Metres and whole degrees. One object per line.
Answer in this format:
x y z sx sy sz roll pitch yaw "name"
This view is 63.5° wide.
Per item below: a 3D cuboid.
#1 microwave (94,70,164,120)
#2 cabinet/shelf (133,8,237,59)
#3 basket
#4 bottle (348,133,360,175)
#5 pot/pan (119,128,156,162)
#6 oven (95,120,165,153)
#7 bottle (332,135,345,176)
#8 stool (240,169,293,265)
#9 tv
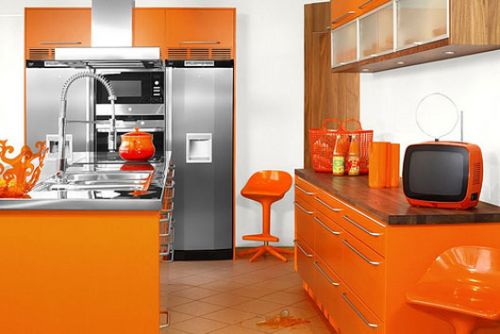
-1.601 -0.834 5.051 0.534 0.747 0.924 12 16 41 "microwave"
-0.777 -1.630 4.848 1.017 0.447 0.295 0 1 1 "cabinet/shelf"
0.855 -0.223 4.212 0.875 0.663 0.520 1 -3 5 "basket"
0.959 -0.113 3.781 0.118 0.375 0.199 1 8 12 "bottle"
-1.085 -0.215 3.903 0.362 0.293 0.333 3 9 17 "pot/pan"
-1.462 -0.349 5.106 0.864 0.482 0.428 2 -20 -2 "oven"
0.824 -0.110 3.813 0.121 0.367 0.205 1 8 11 "bottle"
0.180 0.605 5.134 0.695 1.099 0.622 -1 8 -7 "stool"
1.277 0.054 2.613 0.296 0.424 0.505 2 0 -26 "tv"
